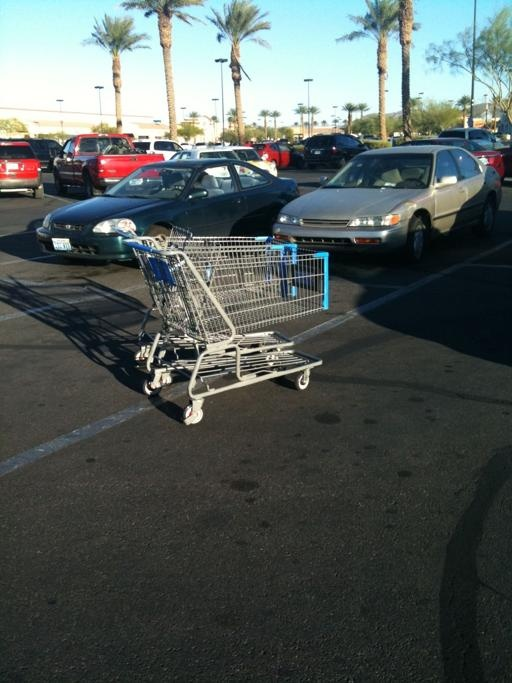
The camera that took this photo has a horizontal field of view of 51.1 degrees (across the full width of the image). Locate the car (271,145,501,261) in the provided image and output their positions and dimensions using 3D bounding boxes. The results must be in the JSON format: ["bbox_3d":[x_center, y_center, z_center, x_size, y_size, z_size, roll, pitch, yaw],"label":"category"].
[{"bbox_3d":[2.469,-2.397,9.118,1.990,1.259,3.970,12,20,41],"label":"car"}]

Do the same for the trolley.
[{"bbox_3d":[-0.187,-0.235,4.189,1.395,1.227,0.831,-12,20,-32],"label":"trolley"}]
